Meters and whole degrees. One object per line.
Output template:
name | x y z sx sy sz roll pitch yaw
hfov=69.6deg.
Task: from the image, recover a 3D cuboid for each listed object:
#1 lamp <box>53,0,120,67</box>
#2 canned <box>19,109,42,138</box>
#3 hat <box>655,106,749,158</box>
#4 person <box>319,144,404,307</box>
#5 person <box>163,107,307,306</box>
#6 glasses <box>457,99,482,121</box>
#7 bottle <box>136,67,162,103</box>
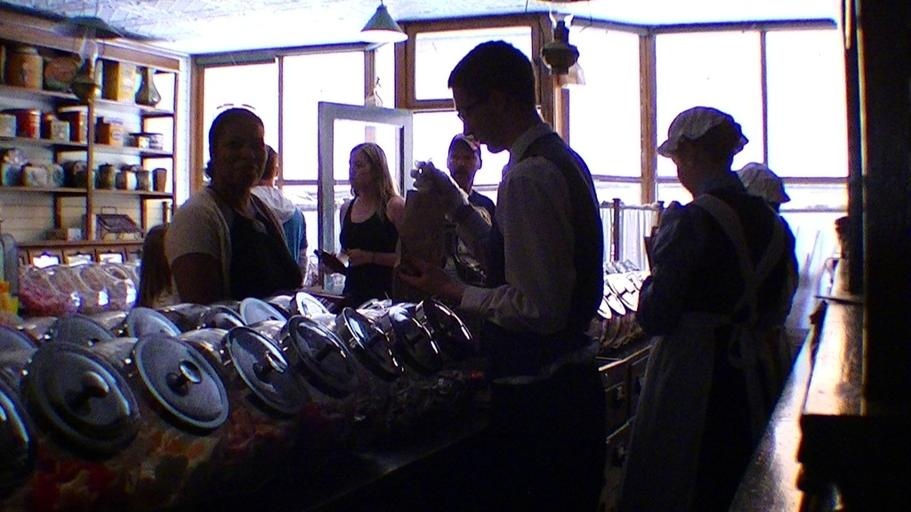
lamp | -2.621 -1.554 4.737 0.342 0.404 0.392 -8 13 -40
canned | -3.790 -1.182 5.850 0.181 0.260 0.125 -6 12 -33
hat | 0.985 -0.538 2.611 0.347 0.123 0.257 -1 14 22
person | -0.479 -0.196 3.677 0.371 0.866 0.701 0 10 -6
person | -0.803 -0.195 2.386 0.464 0.679 0.273 -8 13 -41
glasses | 0.049 -0.467 2.091 0.059 0.017 0.056 -41 15 -19
bottle | -3.209 -1.725 6.815 0.221 0.397 0.265 -1 0 -21
